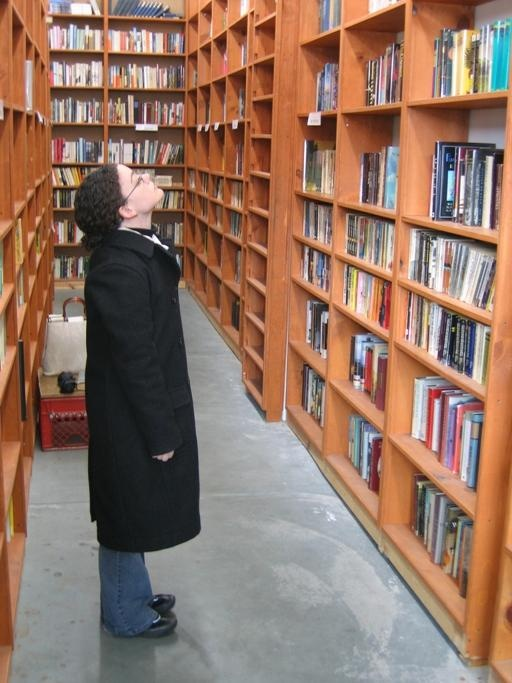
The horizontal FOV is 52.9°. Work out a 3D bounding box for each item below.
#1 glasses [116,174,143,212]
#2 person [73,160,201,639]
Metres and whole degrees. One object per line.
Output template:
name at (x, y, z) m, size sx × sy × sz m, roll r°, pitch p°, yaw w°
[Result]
glasses at (-0.288, -0.342, 1.210) m, size 0.061 × 0.020 × 0.069 m, roll -21°, pitch 52°, yaw 24°
person at (-0.286, 0.065, 1.242) m, size 0.297 × 0.951 × 0.307 m, roll 0°, pitch 4°, yaw -7°
